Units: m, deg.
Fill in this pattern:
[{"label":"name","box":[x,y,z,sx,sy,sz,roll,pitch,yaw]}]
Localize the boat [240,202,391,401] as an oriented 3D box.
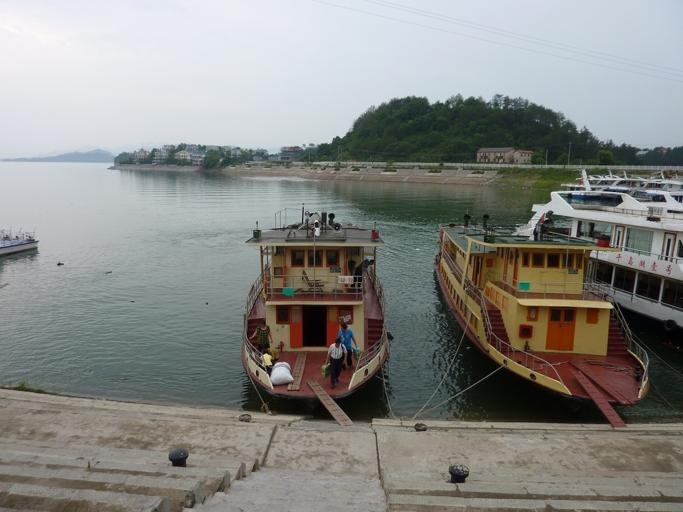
[{"label":"boat","box":[-1.389,2.246,28.363,7.373,8.695,10.370,2,11,5]}]
